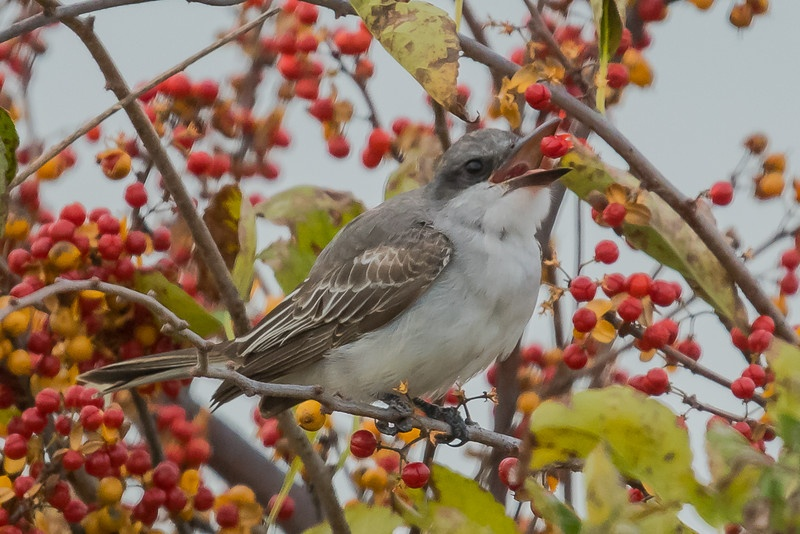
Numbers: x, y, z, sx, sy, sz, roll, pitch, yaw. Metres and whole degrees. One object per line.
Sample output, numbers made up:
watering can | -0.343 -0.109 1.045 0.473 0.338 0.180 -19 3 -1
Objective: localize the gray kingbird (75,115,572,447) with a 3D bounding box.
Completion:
gray kingbird | 0.032 0.062 3.662 1.556 0.973 0.553 -1 -14 14
